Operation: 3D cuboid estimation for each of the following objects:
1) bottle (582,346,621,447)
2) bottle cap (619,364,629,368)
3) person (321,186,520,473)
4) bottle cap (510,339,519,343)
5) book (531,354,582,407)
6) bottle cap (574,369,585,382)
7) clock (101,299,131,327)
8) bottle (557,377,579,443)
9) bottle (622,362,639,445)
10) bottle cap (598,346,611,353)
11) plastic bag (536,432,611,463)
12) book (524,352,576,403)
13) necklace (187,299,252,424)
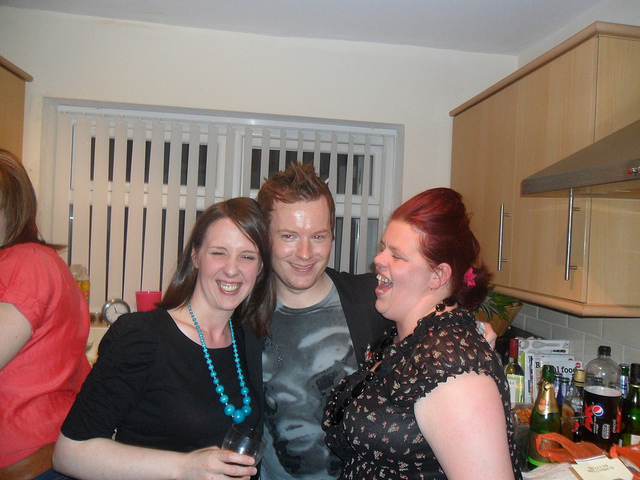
[{"bbox_3d":[1.276,0.690,2.211,0.149,0.445,0.313,3,0,29],"label":"bottle"},{"bbox_3d":[1.411,0.582,2.265,0.021,0.022,0.021,0,-3,1],"label":"bottle cap"},{"bbox_3d":[0.320,0.303,1.609,0.645,0.931,0.414,3,0,29],"label":"person"},{"bbox_3d":[0.963,0.498,2.424,0.025,0.018,0.026,3,-1,-16],"label":"bottle cap"},{"bbox_3d":[1.142,0.692,2.379,0.221,0.321,0.162,1,-7,-5],"label":"book"},{"bbox_3d":[1.215,0.635,2.292,0.044,0.050,0.048,-1,5,-8],"label":"bottle cap"},{"bbox_3d":[-1.209,0.433,2.908,0.229,0.150,0.137,4,1,45],"label":"clock"},{"bbox_3d":[1.148,0.779,2.268,0.087,0.297,0.246,3,0,25],"label":"bottle"},{"bbox_3d":[1.370,0.712,2.155,0.063,0.380,0.134,3,0,30],"label":"bottle"},{"bbox_3d":[1.340,0.517,2.308,0.031,0.039,0.042,-13,-14,-5],"label":"bottle cap"},{"bbox_3d":[0.947,0.796,1.865,0.216,0.071,0.151,-5,7,-10],"label":"plastic bag"},{"bbox_3d":[1.169,0.727,2.543,0.221,0.221,0.128,10,-4,-12],"label":"book"},{"bbox_3d":[-0.375,0.443,1.820,0.186,0.422,0.250,3,0,-38],"label":"necklace"}]
